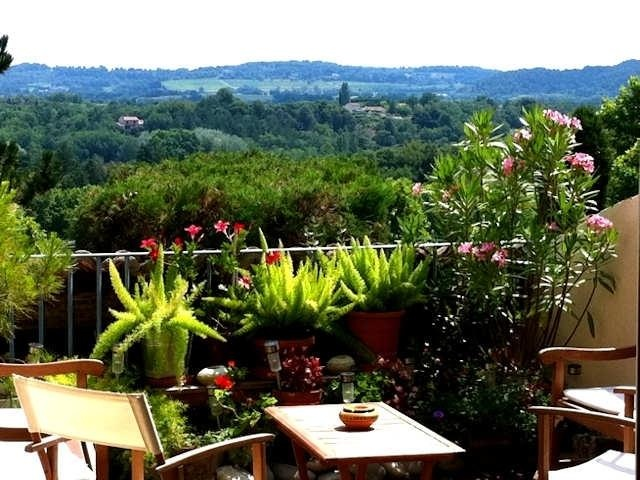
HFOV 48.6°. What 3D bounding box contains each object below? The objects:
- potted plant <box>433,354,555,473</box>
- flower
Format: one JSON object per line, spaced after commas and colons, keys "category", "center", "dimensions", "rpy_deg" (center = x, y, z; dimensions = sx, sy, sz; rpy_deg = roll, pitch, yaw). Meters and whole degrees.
{"category": "potted plant", "center": [1.091, 1.157, 4.614], "dimensions": [0.693, 0.570, 0.623], "rpy_deg": [3, -16, -11]}
{"category": "flower", "center": [1.405, -0.079, 5.036], "dimensions": [1.214, 1.741, 0.800], "rpy_deg": [-2, 5, 13]}
